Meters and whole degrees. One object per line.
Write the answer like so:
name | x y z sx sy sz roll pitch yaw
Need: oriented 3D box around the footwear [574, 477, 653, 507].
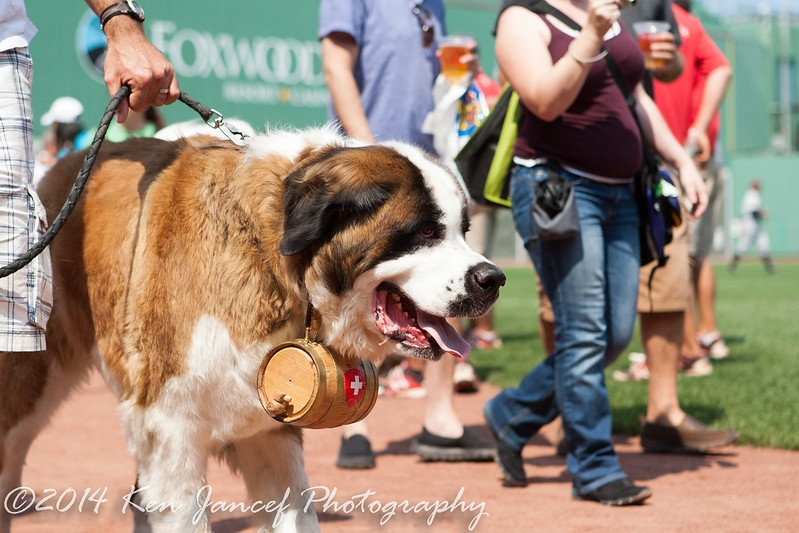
footwear | 1.402 1.456 6.714 0.448 0.204 0.178 -7 -9 23

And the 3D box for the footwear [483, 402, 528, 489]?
footwear | 0.730 1.213 7.224 0.181 0.651 0.258 -7 -6 -13

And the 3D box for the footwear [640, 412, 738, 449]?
footwear | 2.054 1.183 7.354 0.618 0.252 0.238 -5 -6 23
